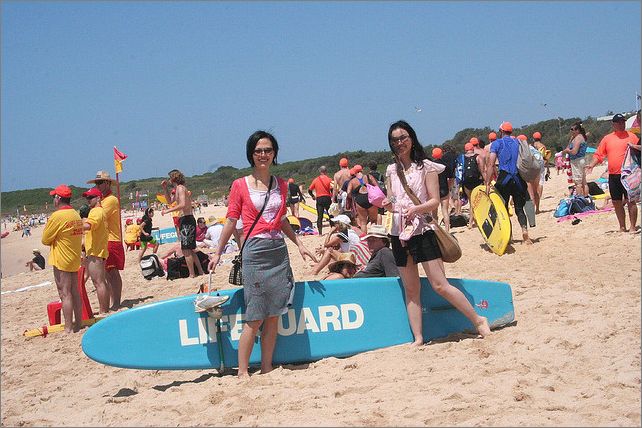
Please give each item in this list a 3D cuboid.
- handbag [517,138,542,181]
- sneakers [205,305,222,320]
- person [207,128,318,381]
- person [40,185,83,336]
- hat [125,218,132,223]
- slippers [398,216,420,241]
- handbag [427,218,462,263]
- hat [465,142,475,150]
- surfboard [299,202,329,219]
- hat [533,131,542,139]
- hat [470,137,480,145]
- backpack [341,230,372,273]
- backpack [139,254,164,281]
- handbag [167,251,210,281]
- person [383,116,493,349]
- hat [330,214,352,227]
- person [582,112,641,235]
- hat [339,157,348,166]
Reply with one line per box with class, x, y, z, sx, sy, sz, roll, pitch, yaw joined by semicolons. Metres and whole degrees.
handbag;3.496;-0.868;8.569;0.332;0.756;0.532;-4;11;23
sneakers;-1.101;1.033;5.273;0.083;0.096;0.224;-4;1;-14
person;-0.588;0.428;5.118;0.844;2.455;0.683;-7;10;6
person;-3.551;0.621;7.141;0.540;2.028;0.686;-13;11;-26
hat;-5.333;0.218;14.087;0.169;0.085;0.232;1;2;-5
slippers;0.876;0.161;5.058;0.140;0.261;0.063;24;2;37
handbag;1.275;0.284;5.182;0.256;0.486;0.191;-6;10;14
hat;3.074;-1.381;10.516;0.217;0.173;0.283;-9;9;0
surfboard;-0.402;-0.100;17.939;0.299;0.404;2.696;26;1;8
hat;5.499;-1.966;12.828;0.259;0.200;0.348;1;6;9
hat;3.502;-1.635;11.572;0.275;0.113;0.308;0;14;4
backpack;0.529;0.524;6.982;0.316;0.440;0.168;-4;-11;-38
backpack;-3.311;1.022;9.790;0.418;0.450;0.461;-10;-2;20
handbag;-2.453;0.993;9.296;0.738;0.317;0.616;0;5;35
person;1.086;0.217;5.195;0.797;2.334;0.401;-7;10;7
hat;0.322;0.109;7.886;0.234;0.124;0.165;12;-5;-9
person;4.802;-0.661;8.149;0.525;1.834;0.898;-5;10;14
hat;0.602;-1.344;13.321;0.209;0.143;0.273;-3;12;1
